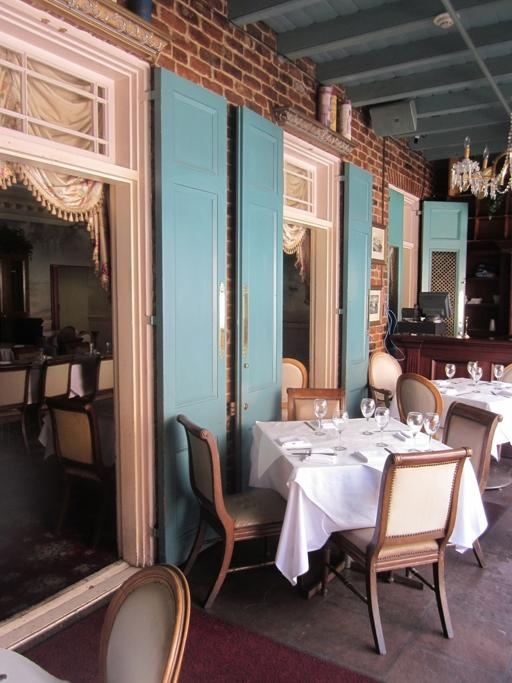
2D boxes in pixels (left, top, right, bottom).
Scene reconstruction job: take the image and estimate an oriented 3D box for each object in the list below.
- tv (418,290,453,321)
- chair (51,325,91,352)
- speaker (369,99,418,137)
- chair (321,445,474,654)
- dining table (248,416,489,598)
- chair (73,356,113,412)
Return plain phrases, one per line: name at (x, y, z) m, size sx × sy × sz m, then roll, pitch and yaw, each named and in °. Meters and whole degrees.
tv at (2.024, -0.402, 5.630) m, size 0.331 × 0.341 × 0.297 m, roll 2°, pitch 2°, yaw 19°
chair at (-3.120, -0.027, 8.191) m, size 0.561 × 0.372 × 0.939 m, roll -7°, pitch 13°, yaw -13°
speaker at (1.311, -2.092, 4.616) m, size 0.433 × 0.355 × 0.334 m, roll 6°, pitch 25°, yaw 36°
chair at (0.597, 0.796, 2.016) m, size 0.396 × 0.784 × 0.374 m, roll 0°, pitch 2°, yaw -20°
dining table at (0.587, 0.797, 2.105) m, size 0.470 × 0.815 × 0.500 m, roll -2°, pitch 8°, yaw -31°
chair at (-1.664, 0.406, 4.994) m, size 0.402 × 0.626 × 0.439 m, roll -3°, pitch 16°, yaw -22°
